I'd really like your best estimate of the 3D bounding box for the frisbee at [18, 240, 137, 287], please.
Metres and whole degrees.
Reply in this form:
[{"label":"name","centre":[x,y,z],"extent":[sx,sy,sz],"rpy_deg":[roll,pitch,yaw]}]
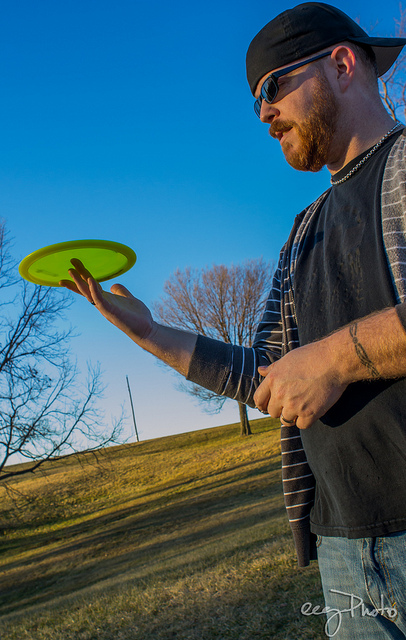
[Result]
[{"label":"frisbee","centre":[-0.460,-0.199,1.936],"extent":[0.402,0.037,0.392],"rpy_deg":[0,-18,-43]}]
